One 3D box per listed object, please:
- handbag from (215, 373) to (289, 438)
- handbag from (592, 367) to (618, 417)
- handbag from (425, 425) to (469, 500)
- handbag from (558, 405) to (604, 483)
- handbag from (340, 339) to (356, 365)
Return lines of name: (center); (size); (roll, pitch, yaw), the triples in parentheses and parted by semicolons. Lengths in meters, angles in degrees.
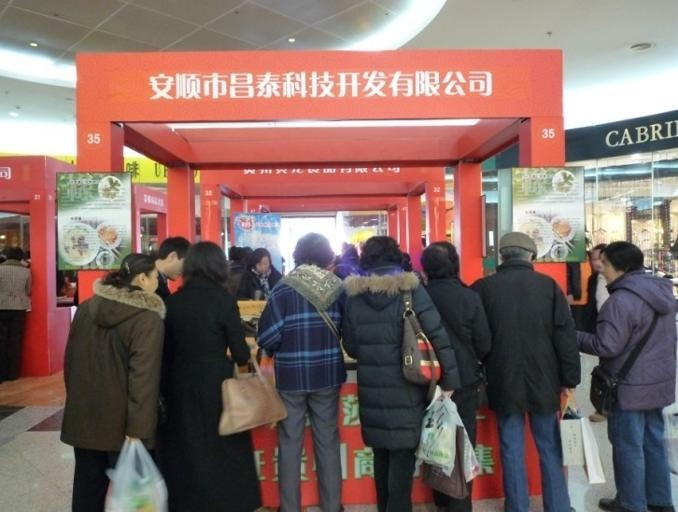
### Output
handbag: (-0.643, 1.073, 4.484); (0.443, 0.463, 0.207); (-4, -17, -24)
handbag: (2.027, 1.025, 4.684); (0.194, 0.393, 0.338); (-2, -6, 15)
handbag: (0.764, 1.433, 4.344); (0.182, 0.490, 0.470); (16, -17, -37)
handbag: (1.770, 1.410, 4.505); (0.295, 0.567, 0.230); (0, 2, 20)
handbag: (0.076, 0.789, 5.065); (0.047, 0.215, 0.216); (-2, -6, 8)
